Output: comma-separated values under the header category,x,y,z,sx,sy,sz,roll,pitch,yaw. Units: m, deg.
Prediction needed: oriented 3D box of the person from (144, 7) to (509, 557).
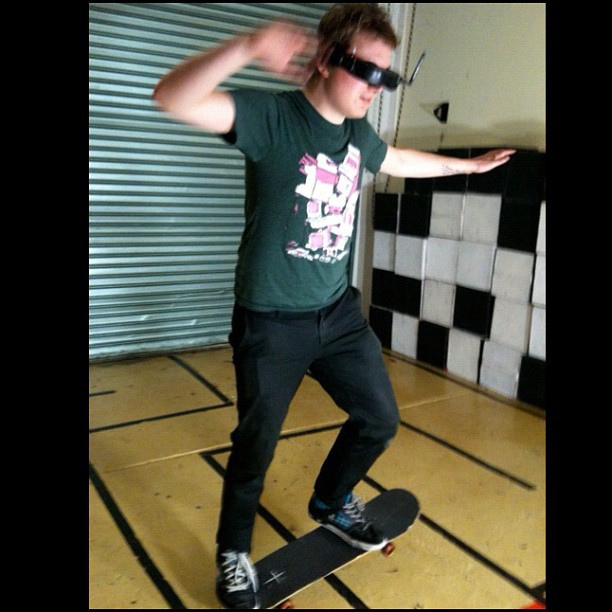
category,x,y,z,sx,sy,sz,roll,pitch,yaw
person,0.056,0.025,1.431,0.440,1.548,0.989,14,11,29
